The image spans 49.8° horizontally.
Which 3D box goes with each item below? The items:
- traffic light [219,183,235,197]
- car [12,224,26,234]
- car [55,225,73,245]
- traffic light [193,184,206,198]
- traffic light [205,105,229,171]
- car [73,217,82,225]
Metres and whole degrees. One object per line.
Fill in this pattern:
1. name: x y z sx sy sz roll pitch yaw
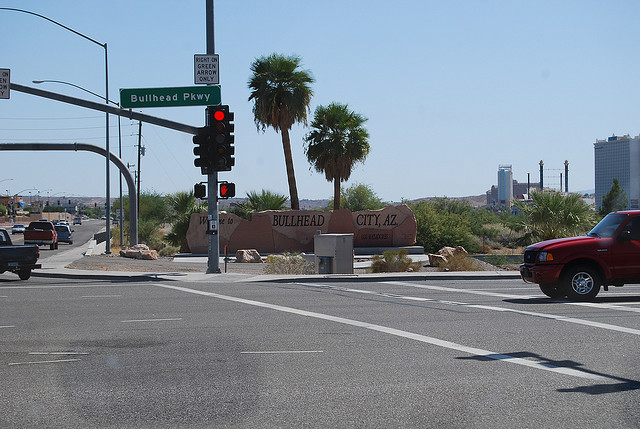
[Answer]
1. traffic light: -3.622 -0.945 27.025 0.566 0.542 0.588 -1 3 -15
2. car: -38.843 1.949 88.870 1.125 0.930 2.135 0 -6 -8
3. car: -23.096 1.862 62.321 1.142 1.062 2.132 -1 7 -6
4. traffic light: -4.664 -0.898 26.801 0.372 0.516 0.999 -1 3 -9
5. traffic light: -3.933 -2.944 26.774 0.819 2.461 0.327 -1 3 -6
6. car: -52.867 1.571 150.530 1.237 1.087 2.132 0 6 -4
